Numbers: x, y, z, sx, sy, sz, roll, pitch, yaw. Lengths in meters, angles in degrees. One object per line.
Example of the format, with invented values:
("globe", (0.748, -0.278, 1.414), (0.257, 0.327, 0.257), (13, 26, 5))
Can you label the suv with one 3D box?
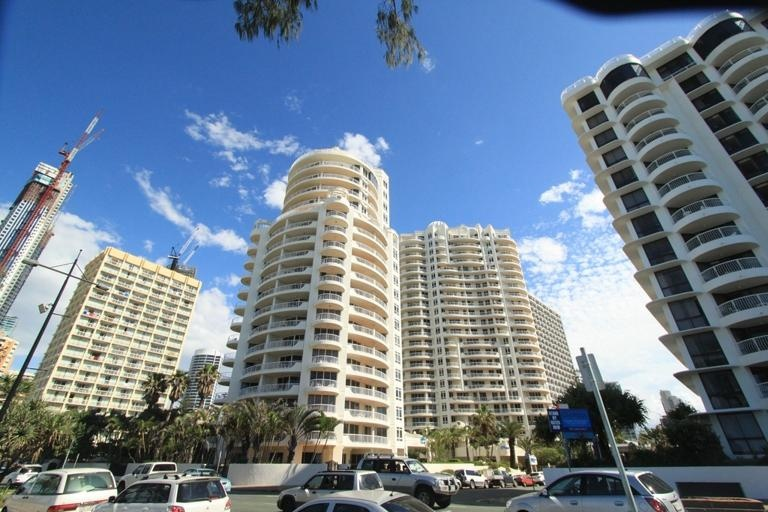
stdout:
("suv", (1.692, 14.073, 22.600), (6.544, 2.556, 3.022), (-13, -37, 19))
